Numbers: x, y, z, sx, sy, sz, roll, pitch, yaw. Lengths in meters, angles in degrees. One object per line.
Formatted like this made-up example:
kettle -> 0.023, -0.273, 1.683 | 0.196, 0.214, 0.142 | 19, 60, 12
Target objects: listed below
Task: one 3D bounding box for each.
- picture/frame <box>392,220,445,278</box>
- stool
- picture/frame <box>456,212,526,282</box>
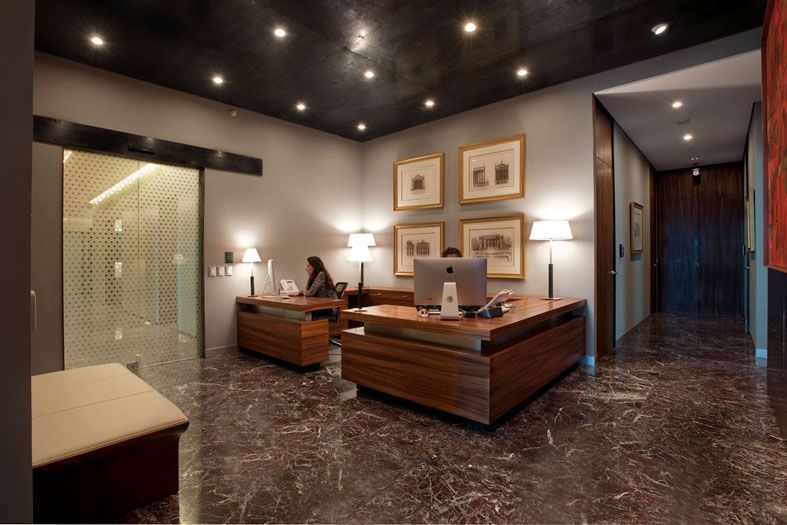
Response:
picture/frame -> 0.432, -0.231, 8.038 | 0.999, 0.883, 0.078 | -3, -8, 42
stool -> -2.719, 1.708, 4.683 | 1.193, 1.055, 1.181 | -4, 3, -34
picture/frame -> 1.528, -0.223, 7.389 | 1.095, 1.048, 0.084 | -2, -1, 39
